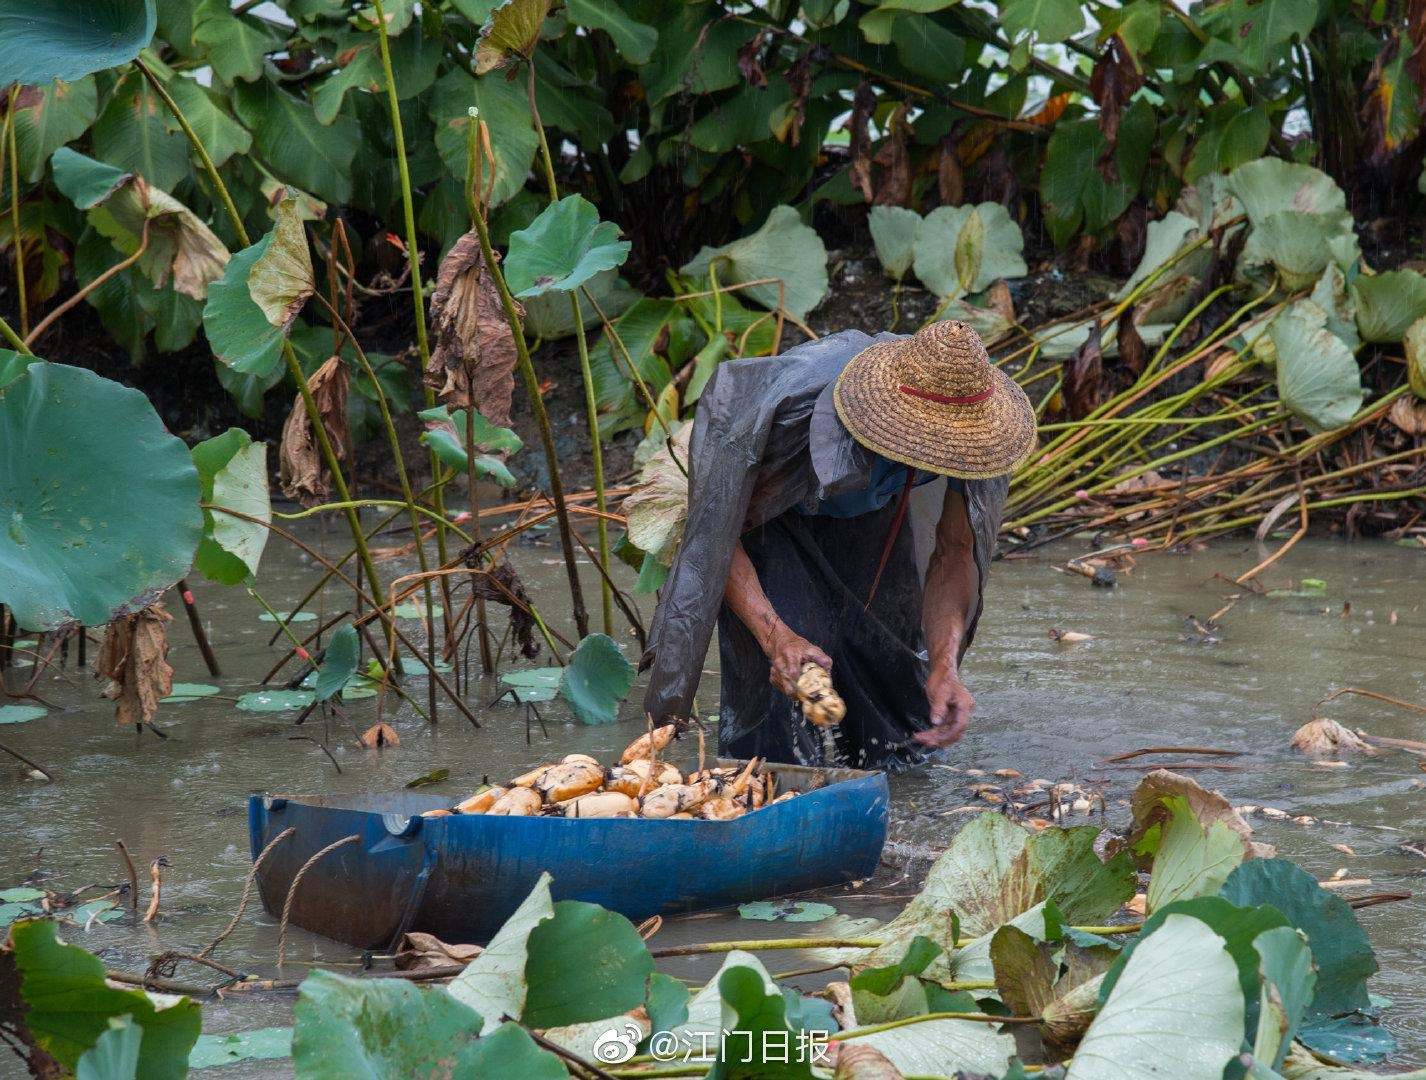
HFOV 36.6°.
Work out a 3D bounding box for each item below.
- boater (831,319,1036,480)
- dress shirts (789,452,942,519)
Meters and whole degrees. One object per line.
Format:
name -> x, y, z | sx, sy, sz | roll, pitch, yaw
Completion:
boater -> 0.658, -0.406, 6.356 | 0.604, 0.471, 0.371 | 5, 8, 2
dress shirts -> 0.490, -0.166, 6.709 | 0.215, 0.143, 0.297 | 5, 6, 38
